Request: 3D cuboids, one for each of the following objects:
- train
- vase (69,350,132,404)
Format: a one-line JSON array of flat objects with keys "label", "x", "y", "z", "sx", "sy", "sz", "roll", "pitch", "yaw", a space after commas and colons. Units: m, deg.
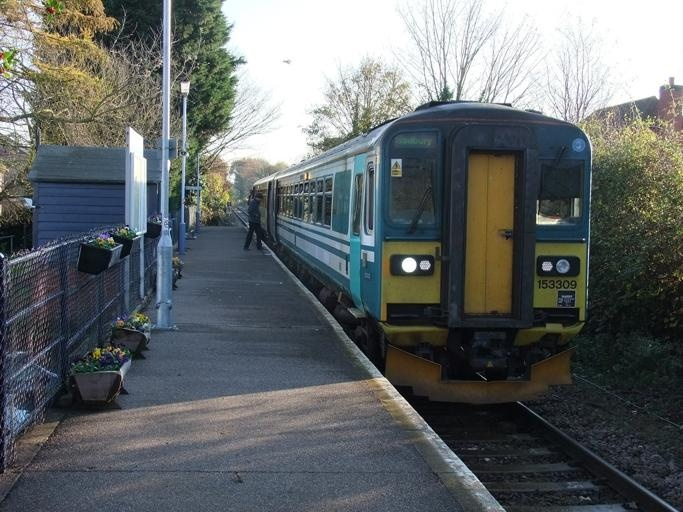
[{"label": "train", "x": 1.092, "y": -0.607, "z": 9.061, "sx": 1.831, "sy": 2.315, "sz": 8.070, "roll": 17, "pitch": 27, "yaw": 28}, {"label": "vase", "x": -2.604, "y": 1.307, "z": 6.071, "sx": 0.535, "sy": 0.518, "sz": 0.631, "roll": 1, "pitch": 5, "yaw": -12}]
